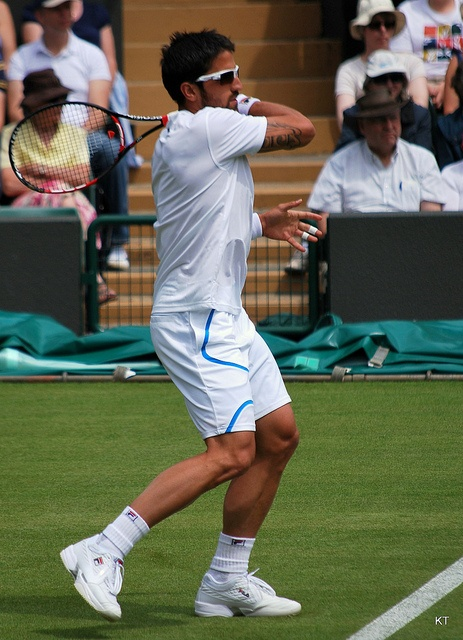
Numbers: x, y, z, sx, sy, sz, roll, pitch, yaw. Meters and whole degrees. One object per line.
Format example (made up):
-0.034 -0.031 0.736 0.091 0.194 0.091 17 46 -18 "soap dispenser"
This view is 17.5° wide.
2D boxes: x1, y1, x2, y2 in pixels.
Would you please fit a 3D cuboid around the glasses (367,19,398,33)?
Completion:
0.955 -1.881 9.517 0.094 0.063 0.114 -4 -15 -12 "glasses"

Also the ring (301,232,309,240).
0.267 -0.310 5.499 0.021 0.035 0.029 6 0 3 "ring"

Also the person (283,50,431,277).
0.871 -0.930 8.946 0.817 0.929 0.493 -1 -6 3 "person"

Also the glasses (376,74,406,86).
0.939 -1.436 8.935 0.192 0.078 0.063 0 12 5 "glasses"

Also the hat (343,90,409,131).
0.848 -1.255 8.899 0.373 0.256 0.588 0 13 4 "hat"

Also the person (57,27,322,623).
-0.100 -0.003 5.142 0.676 1.927 1.153 3 12 18 "person"

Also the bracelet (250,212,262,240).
0.088 -0.335 5.427 0.054 0.072 0.054 -5 15 -13 "bracelet"

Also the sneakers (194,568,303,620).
0.038 0.936 5.143 0.405 0.213 0.143 2 -7 -3 "sneakers"

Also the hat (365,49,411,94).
0.911 -1.512 9.003 0.164 0.149 0.269 -17 -11 -3 "hat"
